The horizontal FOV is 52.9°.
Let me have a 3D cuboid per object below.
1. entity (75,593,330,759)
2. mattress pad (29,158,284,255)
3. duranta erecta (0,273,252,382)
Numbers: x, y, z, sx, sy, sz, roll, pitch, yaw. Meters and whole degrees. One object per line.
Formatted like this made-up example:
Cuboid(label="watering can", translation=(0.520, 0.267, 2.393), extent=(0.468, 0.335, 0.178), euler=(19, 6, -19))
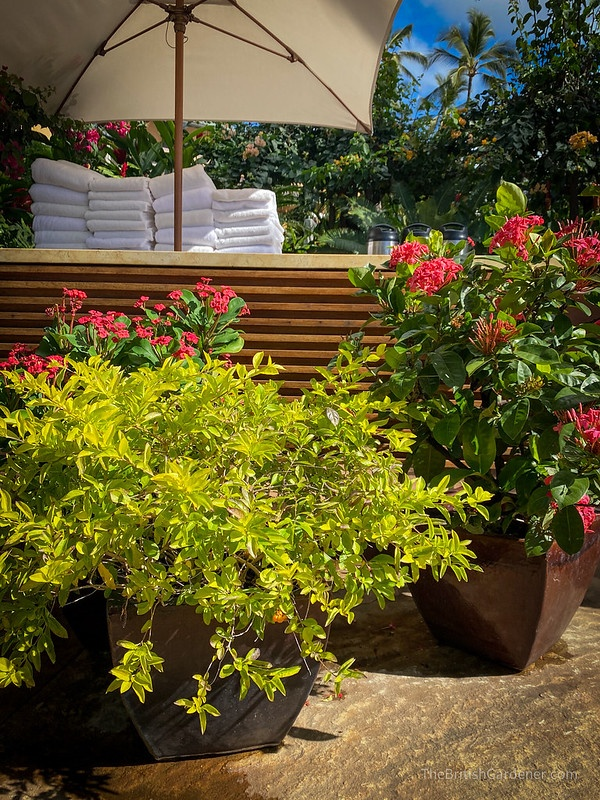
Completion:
Cuboid(label="entity", translation=(-0.201, 0.616, 1.440), extent=(0.383, 0.278, 0.431), euler=(1, -18, -7))
Cuboid(label="mattress pad", translation=(-0.818, -1.050, 3.344), extent=(1.348, 0.372, 0.379), euler=(-1, 1, 5))
Cuboid(label="duranta erecta", translation=(-0.582, -0.268, 2.031), extent=(0.757, 0.358, 0.998), euler=(-1, 1, -3))
